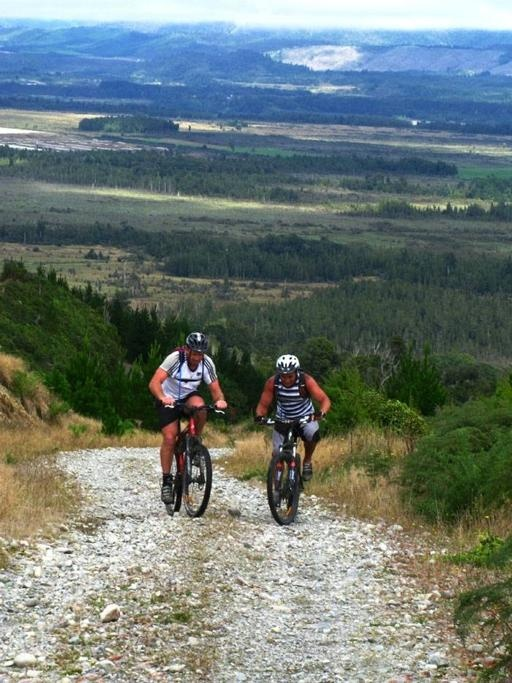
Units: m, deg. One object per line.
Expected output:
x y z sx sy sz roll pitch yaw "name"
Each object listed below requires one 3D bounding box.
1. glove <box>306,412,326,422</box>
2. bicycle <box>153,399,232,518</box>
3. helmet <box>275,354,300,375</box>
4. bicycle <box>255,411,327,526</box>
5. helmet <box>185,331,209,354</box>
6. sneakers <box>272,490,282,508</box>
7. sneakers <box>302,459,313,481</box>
0.758 0.937 13.920 0.134 0.080 0.202 -9 0 1 "glove"
-0.774 1.535 13.523 0.613 0.980 1.389 1 -3 -14 "bicycle"
0.419 0.280 13.745 0.270 0.222 0.583 -1 3 4 "helmet"
0.410 1.576 14.137 0.651 1.358 1.571 -1 3 3 "bicycle"
-0.694 -0.007 13.230 0.171 0.155 0.289 7 25 -19 "helmet"
0.281 1.935 13.626 0.100 0.252 0.362 -1 3 3 "sneakers"
0.683 1.669 14.438 0.081 0.121 0.292 0 33 3 "sneakers"
